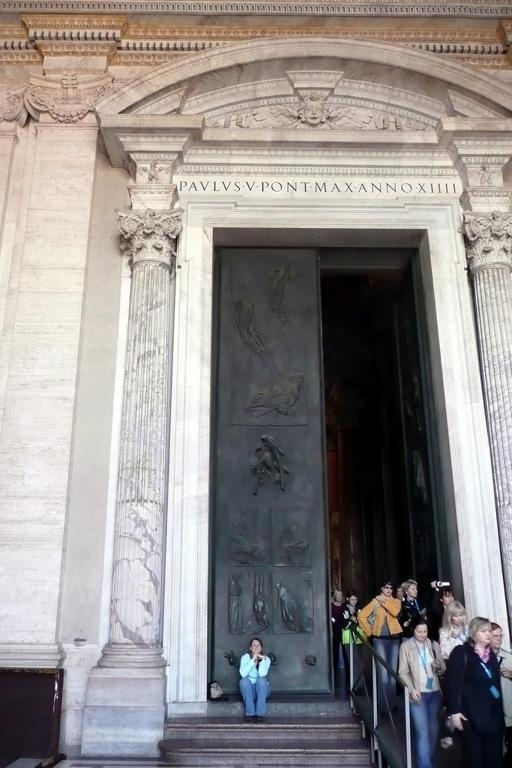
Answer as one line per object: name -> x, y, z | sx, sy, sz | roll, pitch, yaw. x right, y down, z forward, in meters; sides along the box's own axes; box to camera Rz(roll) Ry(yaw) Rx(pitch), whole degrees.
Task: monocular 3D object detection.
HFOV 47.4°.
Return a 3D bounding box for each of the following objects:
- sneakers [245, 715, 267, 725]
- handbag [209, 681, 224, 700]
sneakers -> 0.011, 3.165, 5.496 | 0.203, 0.093, 0.076 | 1, -12, 0
handbag -> -0.430, 3.349, 6.340 | 0.148, 0.233, 0.114 | -4, 0, -7
